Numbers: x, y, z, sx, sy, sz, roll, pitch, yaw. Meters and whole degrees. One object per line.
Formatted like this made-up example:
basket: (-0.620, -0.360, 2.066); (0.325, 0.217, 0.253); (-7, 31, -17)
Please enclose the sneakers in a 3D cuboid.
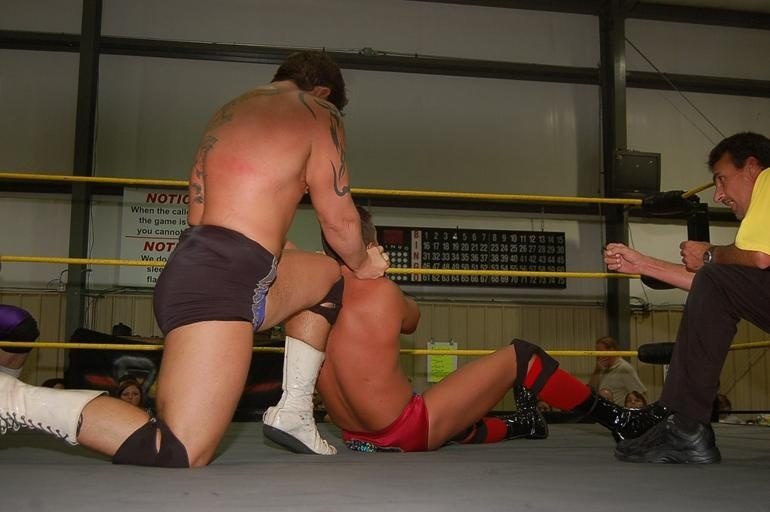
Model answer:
sneakers: (1.681, 1.132, 4.670); (0.665, 0.269, 0.230); (0, -13, 6)
